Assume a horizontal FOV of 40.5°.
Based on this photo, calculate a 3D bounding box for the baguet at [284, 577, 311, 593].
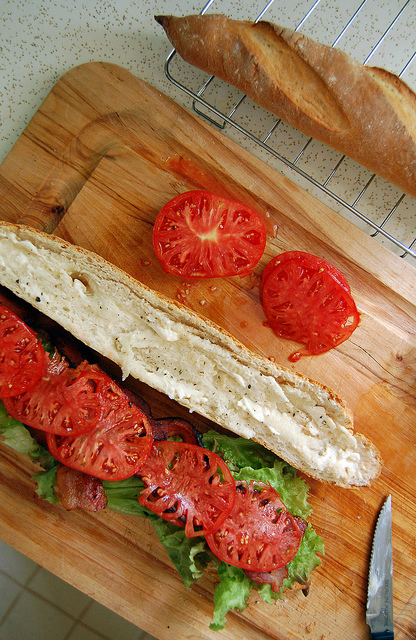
[{"bbox_3d":[0.446,1.324,2.832,0.140,0.078,0.036,-34,63,14],"label":"baguet"}]

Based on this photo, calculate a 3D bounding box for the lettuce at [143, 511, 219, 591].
[{"bbox_3d":[-0.125,1.095,2.829,0.367,0.369,0.110,23,25,20],"label":"lettuce"}]

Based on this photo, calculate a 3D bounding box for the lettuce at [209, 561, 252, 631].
[{"bbox_3d":[0.109,1.309,2.700,0.167,0.087,0.343,19,56,-1],"label":"lettuce"}]

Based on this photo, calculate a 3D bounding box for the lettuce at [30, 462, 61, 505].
[{"bbox_3d":[-0.796,0.818,2.803,0.163,0.052,0.173,12,70,-19],"label":"lettuce"}]

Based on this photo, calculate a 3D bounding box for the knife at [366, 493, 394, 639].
[{"bbox_3d":[0.896,1.297,2.971,0.106,0.058,0.735,6,79,6],"label":"knife"}]
